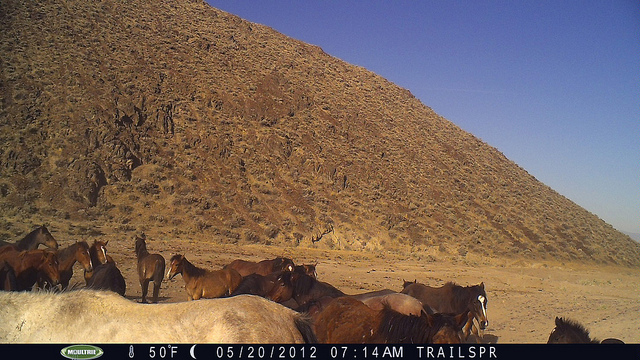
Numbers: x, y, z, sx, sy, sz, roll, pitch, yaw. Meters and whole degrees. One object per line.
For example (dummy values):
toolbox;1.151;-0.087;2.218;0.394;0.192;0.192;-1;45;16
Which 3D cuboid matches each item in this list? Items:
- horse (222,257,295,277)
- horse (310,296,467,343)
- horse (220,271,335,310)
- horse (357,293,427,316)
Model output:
horse;-4.470;6.284;46.519;3.682;2.129;0.886;0;-12;9
horse;3.773;9.252;40.896;8.394;2.818;1.117;8;11;4
horse;-2.210;7.634;45.376;8.080;4.722;1.935;-1;-10;13
horse;5.084;8.376;42.645;2.412;1.759;4.868;0;-1;34
